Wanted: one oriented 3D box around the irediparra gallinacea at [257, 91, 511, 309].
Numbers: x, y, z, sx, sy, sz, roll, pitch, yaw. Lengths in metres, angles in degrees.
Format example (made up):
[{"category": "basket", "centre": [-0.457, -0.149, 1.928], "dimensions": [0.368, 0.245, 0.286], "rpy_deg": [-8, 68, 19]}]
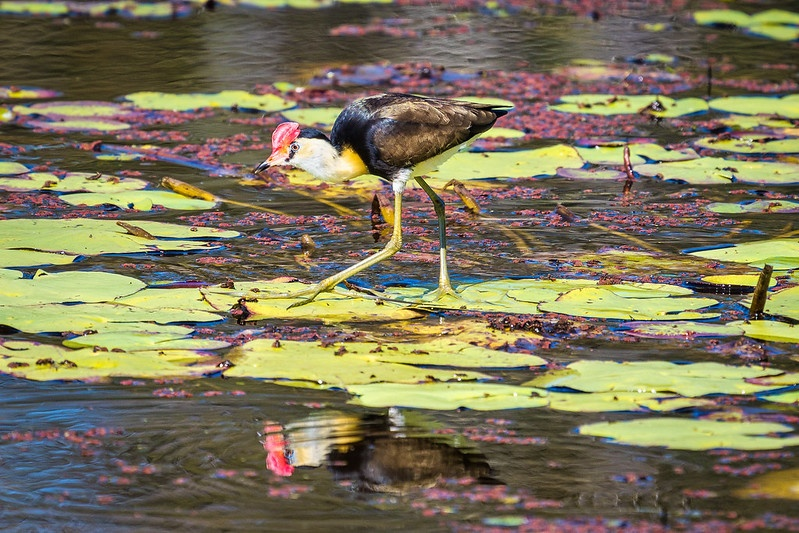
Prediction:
[{"category": "irediparra gallinacea", "centre": [0.079, -0.679, 6.764], "dimensions": [2.004, 1.375, 1.175], "rpy_deg": [-12, 33, -18]}]
